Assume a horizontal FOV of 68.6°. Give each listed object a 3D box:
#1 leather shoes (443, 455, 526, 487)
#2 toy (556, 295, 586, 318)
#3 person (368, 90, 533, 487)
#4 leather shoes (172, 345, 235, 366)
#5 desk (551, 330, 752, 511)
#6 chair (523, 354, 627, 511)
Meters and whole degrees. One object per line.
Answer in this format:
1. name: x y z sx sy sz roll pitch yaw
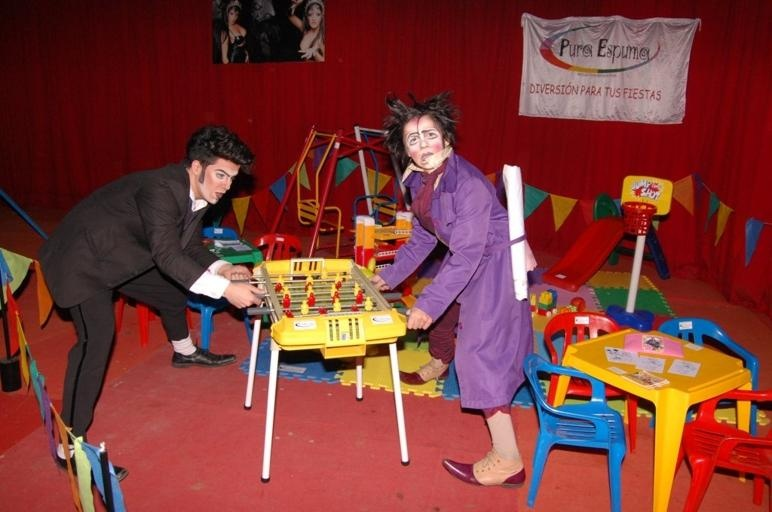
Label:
1. leather shoes: 0.657 1.419 3.843 0.554 0.224 0.189 6 9 13
2. toy: 1.703 0.467 5.233 0.201 0.093 0.109 -13 34 -41
3. person: 0.475 0.219 3.745 1.105 2.539 0.890 14 15 43
4. leather shoes: -1.558 0.872 4.832 0.499 0.176 0.186 1 6 -11
5. desk: 1.633 0.869 3.906 1.076 0.880 1.086 -13 27 -31
6. chair: 1.243 1.181 3.702 0.614 0.864 0.666 -4 21 14
